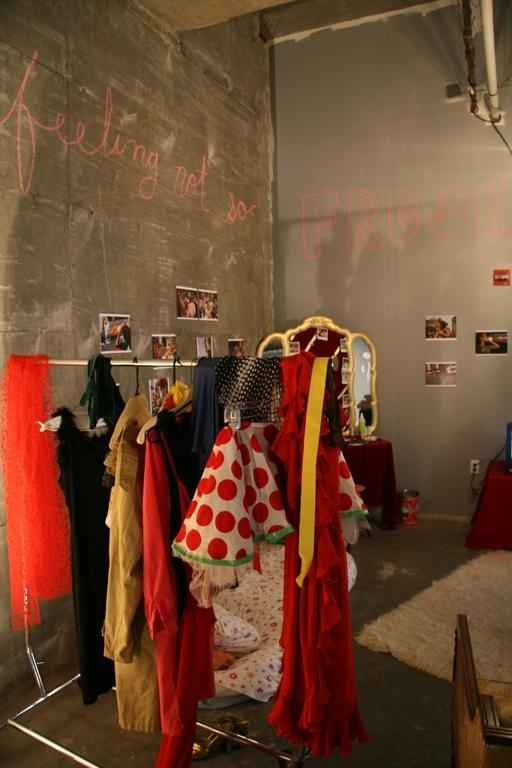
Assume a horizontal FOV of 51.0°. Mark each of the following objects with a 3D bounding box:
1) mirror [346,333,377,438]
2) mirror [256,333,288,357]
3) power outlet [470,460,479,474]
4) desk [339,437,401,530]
[{"bbox_3d":[0.906,-0.003,4.572,0.276,0.854,0.084,-1,2,-23],"label":"mirror"},{"bbox_3d":[0.142,-0.314,4.197,0.202,0.188,0.490,0,3,7],"label":"mirror"},{"bbox_3d":[1.793,0.670,4.412,0.085,0.154,0.013,4,10,30],"label":"power outlet"},{"bbox_3d":[1.094,0.796,4.402,0.490,0.652,0.532,-15,-8,28],"label":"desk"}]
